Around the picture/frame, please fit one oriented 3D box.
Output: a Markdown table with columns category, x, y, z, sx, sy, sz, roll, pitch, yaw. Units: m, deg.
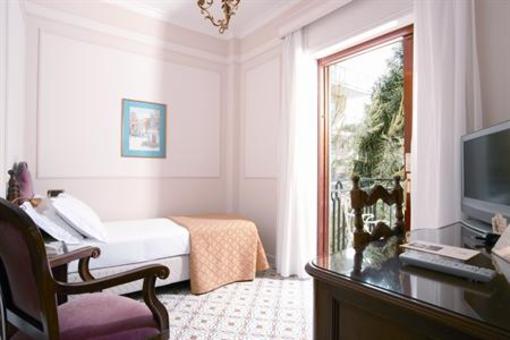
| category | x | y | z | sx | sy | sz | roll | pitch | yaw |
| --- | --- | --- | --- | --- | --- | --- | --- | --- | --- |
| picture/frame | -1.543 | -0.570 | 4.662 | 0.783 | 1.038 | 0.042 | 2 | -5 | -35 |
